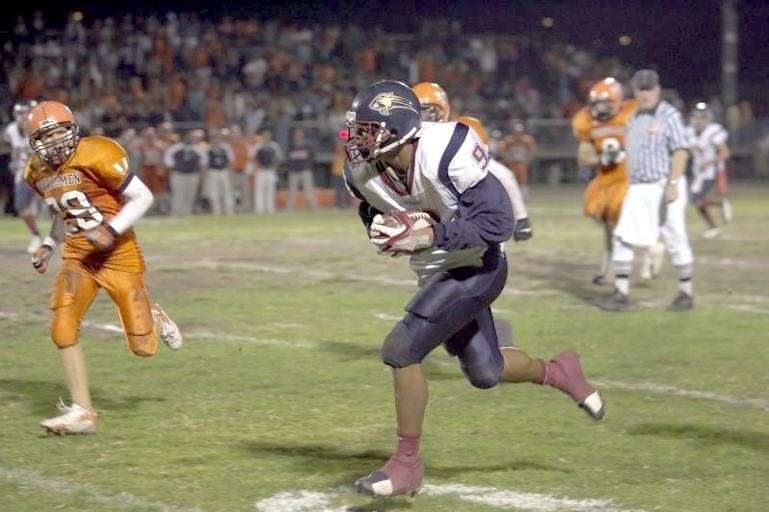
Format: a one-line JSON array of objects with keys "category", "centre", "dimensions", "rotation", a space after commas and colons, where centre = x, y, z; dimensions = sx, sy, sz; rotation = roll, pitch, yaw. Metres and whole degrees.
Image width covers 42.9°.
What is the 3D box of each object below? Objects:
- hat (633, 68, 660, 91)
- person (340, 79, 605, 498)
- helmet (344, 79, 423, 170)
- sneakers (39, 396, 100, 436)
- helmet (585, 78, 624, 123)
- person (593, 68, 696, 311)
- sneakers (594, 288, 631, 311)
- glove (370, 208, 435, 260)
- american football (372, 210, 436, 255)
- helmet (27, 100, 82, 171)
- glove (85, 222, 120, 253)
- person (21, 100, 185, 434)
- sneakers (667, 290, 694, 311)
[{"category": "hat", "centre": [2.539, -1.726, 9.521], "dimensions": [0.309, 0.173, 0.264], "rotation": [1, -2, 2]}, {"category": "person", "centre": [0.424, 0.180, 5.998], "dimensions": [1.486, 2.440, 0.999], "rotation": [-4, 16, -14]}, {"category": "helmet", "centre": [0.007, -0.828, 6.014], "dimensions": [0.588, 0.359, 0.402], "rotation": [-7, 8, -3]}, {"category": "sneakers", "centre": [-2.115, 1.081, 6.491], "dimensions": [0.521, 0.175, 0.160], "rotation": [12, -7, -10]}, {"category": "helmet", "centre": [2.294, -1.671, 10.315], "dimensions": [0.402, 0.368, 0.498], "rotation": [13, 25, 29]}, {"category": "person", "centre": [2.577, -0.623, 9.392], "dimensions": [0.864, 2.243, 0.974], "rotation": [4, 16, 15]}, {"category": "sneakers", "centre": [2.214, 0.434, 9.451], "dimensions": [0.361, 0.255, 0.159], "rotation": [3, 8, 16]}, {"category": "glove", "centre": [0.087, -0.127, 5.661], "dimensions": [0.374, 0.141, 0.254], "rotation": [-8, 14, -32]}, {"category": "american football", "centre": [0.109, -0.140, 5.700], "dimensions": [0.378, 0.247, 0.215], "rotation": [-1, 15, -3]}, {"category": "helmet", "centre": [-2.255, -0.836, 6.736], "dimensions": [0.330, 0.447, 0.241], "rotation": [-4, 16, -15]}, {"category": "glove", "centre": [-1.882, -0.127, 6.585], "dimensions": [0.207, 0.196, 0.078], "rotation": [-42, 8, -11]}, {"category": "person", "centre": [-1.942, 0.045, 6.707], "dimensions": [0.805, 2.155, 0.987], "rotation": [-6, 17, -18]}, {"category": "sneakers", "centre": [2.774, 0.421, 9.218], "dimensions": [0.216, 0.167, 0.151], "rotation": [3, 15, 14]}]
